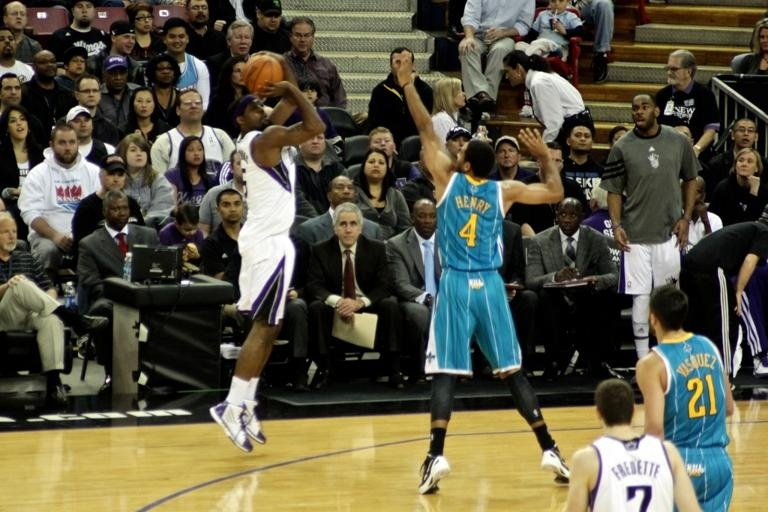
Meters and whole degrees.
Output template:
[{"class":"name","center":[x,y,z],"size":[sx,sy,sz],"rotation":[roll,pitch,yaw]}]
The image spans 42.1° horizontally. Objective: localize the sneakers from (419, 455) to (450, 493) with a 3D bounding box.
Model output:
[{"class":"sneakers","center":[0.351,1.531,7.098],"size":[0.210,0.291,0.236],"rotation":[1,10,2]}]

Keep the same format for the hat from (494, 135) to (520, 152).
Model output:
[{"class":"hat","center":[1.332,-1.230,10.937],"size":[0.230,0.156,0.238],"rotation":[-1,11,-11]}]

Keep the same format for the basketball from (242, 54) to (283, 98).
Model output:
[{"class":"basketball","center":[-0.917,-1.393,7.623],"size":[0.314,0.318,0.418],"rotation":[0,10,-6]}]

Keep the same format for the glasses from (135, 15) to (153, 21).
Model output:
[{"class":"glasses","center":[-3.069,-3.064,12.770],"size":[0.215,0.086,0.072],"rotation":[-2,11,-16]}]

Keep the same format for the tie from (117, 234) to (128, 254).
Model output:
[{"class":"tie","center":[-2.503,-0.126,9.610],"size":[0.059,0.274,0.070],"rotation":[-9,-4,-8]}]

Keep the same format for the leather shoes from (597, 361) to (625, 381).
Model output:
[{"class":"leather shoes","center":[2.285,1.149,10.051],"size":[0.232,0.107,0.520],"rotation":[1,10,1]}]

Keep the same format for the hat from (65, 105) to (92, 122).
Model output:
[{"class":"hat","center":[-3.310,-1.535,10.793],"size":[0.230,0.143,0.322],"rotation":[-5,-2,-23]}]

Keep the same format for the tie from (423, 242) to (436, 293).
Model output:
[{"class":"tie","center":[0.444,0.093,9.866],"size":[0.147,0.525,0.127],"rotation":[-1,10,-7]}]

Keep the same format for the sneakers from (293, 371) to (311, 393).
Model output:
[{"class":"sneakers","center":[-0.770,1.164,9.337],"size":[0.162,0.168,0.143],"rotation":[0,10,-7]}]

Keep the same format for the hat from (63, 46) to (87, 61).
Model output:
[{"class":"hat","center":[-3.751,-2.472,12.190],"size":[0.268,0.184,0.304],"rotation":[-3,11,-19]}]

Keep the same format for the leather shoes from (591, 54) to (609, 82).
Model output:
[{"class":"leather shoes","center":[2.992,-2.641,13.914],"size":[0.142,0.455,0.192],"rotation":[0,-13,27]}]

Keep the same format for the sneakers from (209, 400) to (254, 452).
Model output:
[{"class":"sneakers","center":[-1.083,1.285,7.622],"size":[0.158,0.243,0.436],"rotation":[1,26,-40]}]

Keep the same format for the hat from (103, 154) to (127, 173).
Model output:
[{"class":"hat","center":[-2.708,-0.934,10.054],"size":[0.218,0.163,0.296],"rotation":[-2,11,-16]}]

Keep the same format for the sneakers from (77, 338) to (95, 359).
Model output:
[{"class":"sneakers","center":[-2.897,0.883,9.643],"size":[0.159,0.208,0.480],"rotation":[0,-6,-19]}]

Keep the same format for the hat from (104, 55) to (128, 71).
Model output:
[{"class":"hat","center":[-3.129,-2.269,11.708],"size":[0.254,0.177,0.372],"rotation":[-2,11,-16]}]

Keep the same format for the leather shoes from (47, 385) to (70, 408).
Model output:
[{"class":"leather shoes","center":[-2.879,1.231,8.863],"size":[0.104,0.142,0.318],"rotation":[0,6,-5]}]

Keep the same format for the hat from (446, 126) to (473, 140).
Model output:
[{"class":"hat","center":[0.784,-1.356,10.828],"size":[0.188,0.155,0.271],"rotation":[-1,-5,-14]}]

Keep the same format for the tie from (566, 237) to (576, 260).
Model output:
[{"class":"tie","center":[1.884,-0.079,10.136],"size":[0.099,0.234,0.040],"rotation":[1,10,2]}]
